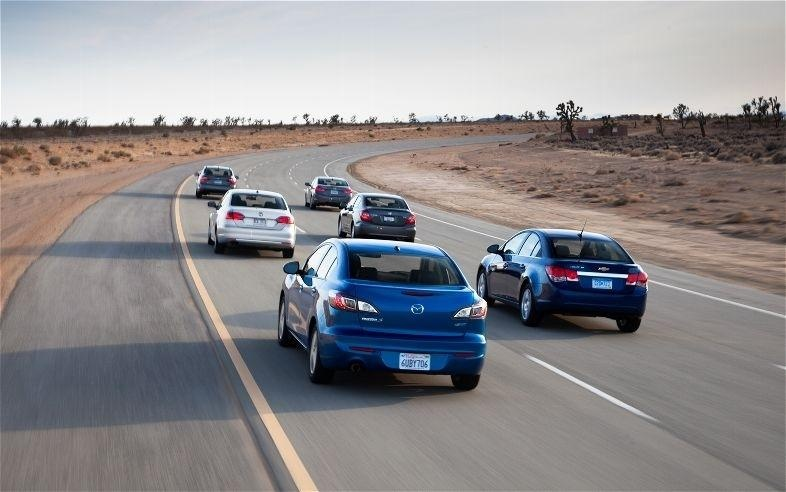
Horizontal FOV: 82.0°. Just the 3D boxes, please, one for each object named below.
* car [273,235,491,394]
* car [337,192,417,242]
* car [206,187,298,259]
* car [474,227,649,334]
[{"bbox_3d":[-0.234,1.069,7.071,3.311,2.185,1.772,5,7,13],"label":"car"},{"bbox_3d":[-0.697,-1.369,20.969,3.332,2.083,2.267,4,6,1],"label":"car"},{"bbox_3d":[-5.196,-0.855,16.905,2.890,2.375,1.136,3,7,-6],"label":"car"},{"bbox_3d":[4.097,0.792,11.119,3.744,2.311,1.868,7,7,28],"label":"car"}]
